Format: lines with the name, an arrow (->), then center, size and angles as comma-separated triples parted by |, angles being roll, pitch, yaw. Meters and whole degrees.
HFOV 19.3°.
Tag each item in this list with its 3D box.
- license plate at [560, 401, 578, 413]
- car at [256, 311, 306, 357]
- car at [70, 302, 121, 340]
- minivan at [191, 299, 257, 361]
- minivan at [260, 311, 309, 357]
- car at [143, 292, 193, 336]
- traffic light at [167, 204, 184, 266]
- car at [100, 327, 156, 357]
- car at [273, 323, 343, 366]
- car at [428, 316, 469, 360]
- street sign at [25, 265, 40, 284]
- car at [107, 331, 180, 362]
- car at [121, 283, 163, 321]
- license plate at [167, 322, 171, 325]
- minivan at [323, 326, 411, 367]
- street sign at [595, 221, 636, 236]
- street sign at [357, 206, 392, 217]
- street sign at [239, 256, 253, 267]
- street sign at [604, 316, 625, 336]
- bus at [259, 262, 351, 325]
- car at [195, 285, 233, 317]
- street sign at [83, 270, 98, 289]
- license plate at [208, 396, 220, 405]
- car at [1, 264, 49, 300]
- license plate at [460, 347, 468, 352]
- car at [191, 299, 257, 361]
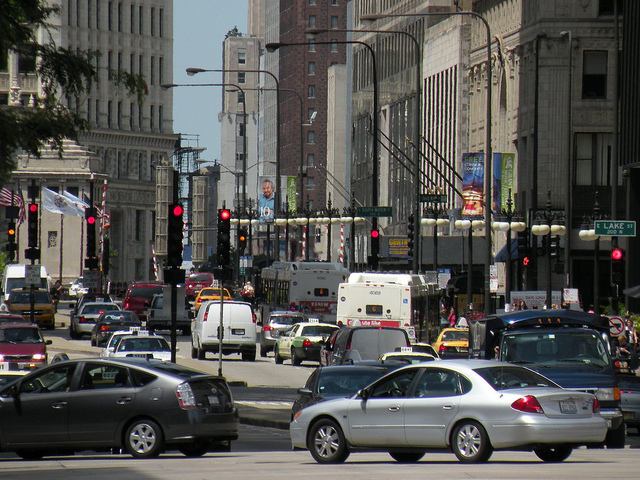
license plate -> 6.405, 4.290, 50.046 | 0.314, 0.243, 0.044 | 0, -10, 5
car -> -1.557, 3.619, 76.381 | 1.777, 1.611, 4.032 | 0, 1, -4
car -> -9.439, 3.265, 80.276 | 1.428, 1.015, 3.018 | -1, 2, -8
minivan -> -3.681, 3.246, 74.100 | 1.570, 1.459, 2.992 | 0, 2, -12
minivan -> -1.460, 3.622, 75.809 | 1.783, 1.689, 3.945 | 0, 1, -3
car -> -6.846, 3.221, 85.555 | 1.725, 1.572, 3.223 | 0, 2, -10
traffic light -> -4.838, -0.352, 63.228 | 0.458, 2.106, 0.946 | 0, -4, -5
car -> -7.320, 3.462, 67.949 | 1.023, 0.898, 1.793 | 0, 2, -9
car -> -0.793, 3.794, 73.512 | 1.292, 0.871, 2.906 | 0, 2, -14
car -> 4.745, 3.593, 72.219 | 1.253, 0.965, 2.853 | 0, 2, 1
street sign -> -12.069, 1.228, 80.083 | 0.549, 0.802, 0.705 | 0, -4, -6
car -> -6.103, 3.501, 64.923 | 1.399, 0.855, 2.343 | 0, 3, -13
car -> -8.653, 2.735, 92.655 | 2.195, 2.082, 4.234 | 0, 2, -13
license plate -> -6.694, 3.485, 84.053 | 0.089, 0.083, 0.444 | 1, -5, -17
minivan -> 1.586, 3.253, 63.512 | 1.404, 1.085, 2.112 | 0, 2, -11
street sign -> 10.757, -0.649, 70.510 | 1.451, 0.524, 0.750 | -1, -4, 6
street sign -> 2.160, -1.400, 78.574 | 1.365, 0.520, 1.967 | 0, -4, 0
street sign -> -4.449, 0.979, 111.623 | 0.753, 0.745, 0.180 | 0, -1, 9
street sign -> 10.575, 2.945, 68.862 | 0.561, 0.750, 1.490 | -1, -4, 8
bus -> -1.146, 2.297, 84.785 | 2.869, 2.887, 6.222 | 3, -2, -15
car -> -5.715, 2.782, 96.127 | 1.236, 1.020, 2.724 | 0, 3, -6
street sign -> -10.755, 1.582, 89.258 | 0.998, 1.202, 0.155 | 0, 10, 1
license plate -> -2.944, 4.271, 51.931 | 0.232, 0.229, 0.057 | 4, -11, -11
car -> -14.638, 1.758, 93.676 | 1.711, 1.633, 2.919 | 0, -5, -14
license plate -> 5.290, 3.954, 71.607 | 0.267, 0.189, 0.150 | 1, 1, 8
car -> -3.746, 3.223, 74.113 | 1.609, 1.503, 3.043 | 0, 2, -12
